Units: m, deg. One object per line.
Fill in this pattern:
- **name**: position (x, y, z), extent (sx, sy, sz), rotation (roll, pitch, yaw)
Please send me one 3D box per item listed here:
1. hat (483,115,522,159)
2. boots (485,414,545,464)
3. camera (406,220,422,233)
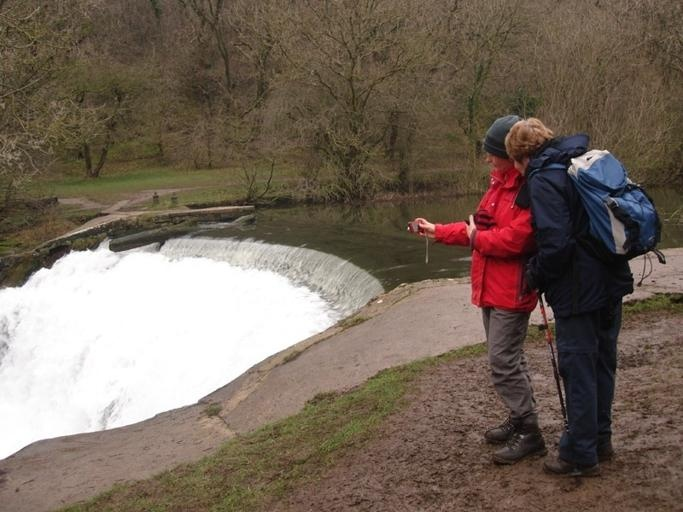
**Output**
- **hat**: position (2.423, -1.778, 11.478), extent (0.562, 0.569, 0.620), rotation (-3, 27, -34)
- **boots**: position (2.566, 2.711, 11.453), extent (0.634, 0.294, 0.787), rotation (1, 13, -3)
- **camera**: position (1.100, -0.445, 11.810), extent (0.181, 0.181, 0.049), rotation (0, 2, -10)
